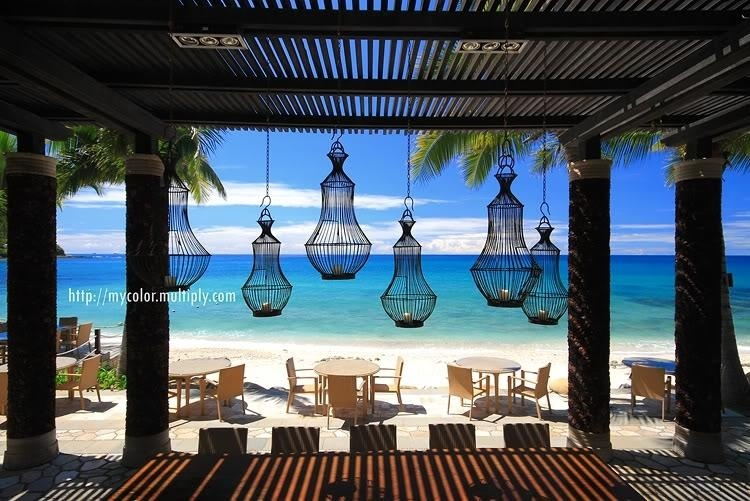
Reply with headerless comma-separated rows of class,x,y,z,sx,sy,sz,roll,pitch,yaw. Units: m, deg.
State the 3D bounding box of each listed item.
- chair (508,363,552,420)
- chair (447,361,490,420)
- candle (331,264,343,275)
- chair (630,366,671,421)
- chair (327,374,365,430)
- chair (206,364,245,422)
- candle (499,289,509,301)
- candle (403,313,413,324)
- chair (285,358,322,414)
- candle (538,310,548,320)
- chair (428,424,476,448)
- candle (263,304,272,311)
chair,3.198,2.840,12.192,0.709,0.894,0.692,4,4,39
chair,1.871,2.822,12.112,0.699,0.948,0.710,2,1,43
candle,-0.497,0.262,8.207,0.152,0.148,0.128,0,-7,-4
chair,5.585,2.812,12.023,0.764,0.998,0.748,1,1,27
chair,-0.554,2.966,11.850,0.764,1.012,1.008,0,-7,-2
chair,-2.978,2.864,12.112,0.731,1.086,0.955,1,-8,-11
candle,1.767,0.603,8.115,0.152,0.150,0.148,0,2,-41
candle,0.459,0.938,8.244,0.145,0.175,0.137,-1,0,-9
chair,-1.465,2.831,12.470,0.830,0.933,0.804,1,1,-8
candle,2.397,0.918,8.457,0.127,0.130,0.123,2,7,16
chair,1.169,2.796,8.925,0.711,0.353,0.199,2,-8,-18
candle,-1.566,0.824,8.636,0.119,0.100,0.116,0,0,35
